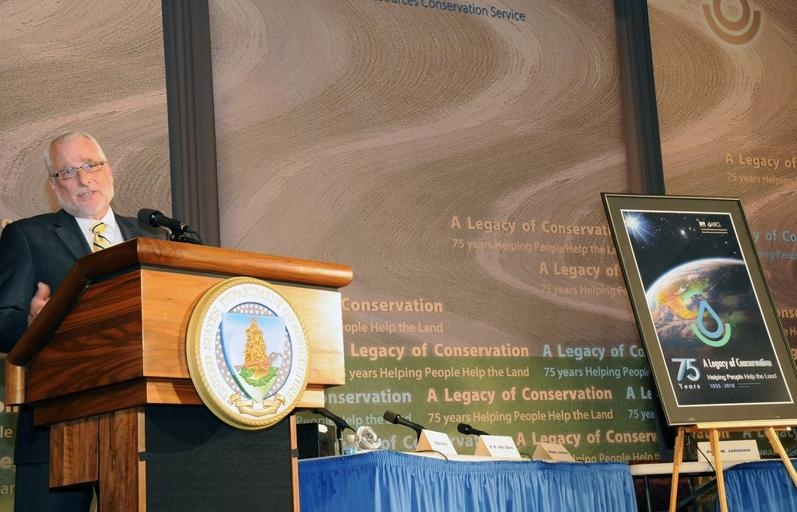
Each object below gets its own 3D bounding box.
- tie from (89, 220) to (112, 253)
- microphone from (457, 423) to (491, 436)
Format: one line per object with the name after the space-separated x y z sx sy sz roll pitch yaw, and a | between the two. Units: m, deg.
-1.418 -0.084 6.098 0.115 0.060 0.377 4 15 -9 | tie
0.400 1.002 7.240 0.079 0.061 0.275 -6 5 -44 | microphone
